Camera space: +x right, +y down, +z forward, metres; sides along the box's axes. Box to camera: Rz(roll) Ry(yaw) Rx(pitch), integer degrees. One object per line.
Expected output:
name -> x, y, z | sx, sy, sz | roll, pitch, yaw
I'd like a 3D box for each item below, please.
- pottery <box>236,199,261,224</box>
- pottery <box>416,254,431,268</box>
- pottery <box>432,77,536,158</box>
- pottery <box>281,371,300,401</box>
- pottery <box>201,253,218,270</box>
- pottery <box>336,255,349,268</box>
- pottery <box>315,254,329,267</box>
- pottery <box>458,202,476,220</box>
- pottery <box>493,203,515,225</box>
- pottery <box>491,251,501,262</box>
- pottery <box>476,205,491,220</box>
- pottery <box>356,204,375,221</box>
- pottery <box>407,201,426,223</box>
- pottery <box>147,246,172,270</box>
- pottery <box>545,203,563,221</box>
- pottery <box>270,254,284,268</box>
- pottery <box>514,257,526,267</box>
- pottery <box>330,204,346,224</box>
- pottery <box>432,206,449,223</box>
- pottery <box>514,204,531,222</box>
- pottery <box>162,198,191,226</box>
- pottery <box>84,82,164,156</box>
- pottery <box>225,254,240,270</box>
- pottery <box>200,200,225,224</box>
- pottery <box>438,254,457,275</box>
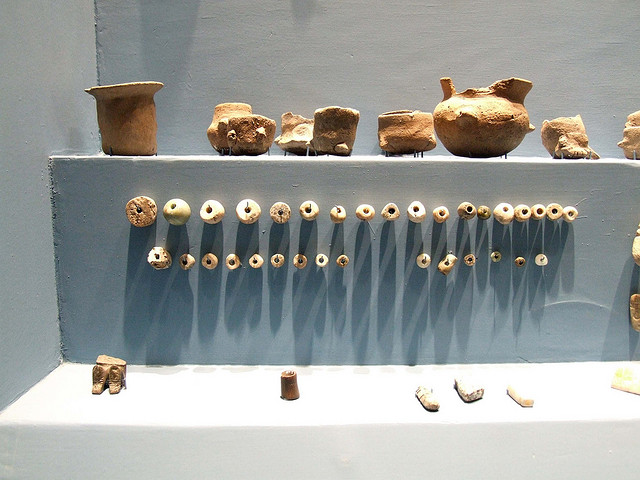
pottery -> -0.547, -0.223, 6.577 | 0.192, 0.157, 0.133 | 34, -50, -29
pottery -> 0.794, 0.158, 6.666 | 0.103, 0.070, 0.103 | 20, -45, -17
pottery -> 1.332, -0.990, 7.116 | 0.802, 0.848, 0.700 | 5, -87, -10
pottery -> -0.231, 1.078, 6.388 | 0.164, 0.163, 0.198 | -7, -78, -18
pottery -> -0.854, 0.156, 6.629 | 0.122, 0.100, 0.098 | 11, -43, -8
pottery -> 0.168, 0.160, 6.659 | 0.088, 0.079, 0.101 | -10, -44, 14
pottery -> 0.006, 0.156, 6.648 | 0.108, 0.095, 0.097 | 3, -42, 1
pottery -> 1.123, -0.233, 6.657 | 0.118, 0.110, 0.117 | -44, -83, 0
pottery -> 1.409, -0.215, 6.675 | 0.150, 0.109, 0.156 | -32, -91, -2
pottery -> 1.365, 0.126, 6.720 | 0.074, 0.060, 0.071 | -3, -43, 6
pottery -> 1.253, -0.217, 6.633 | 0.093, 0.051, 0.099 | 35, -86, -2
pottery -> 0.340, -0.212, 6.611 | 0.138, 0.110, 0.127 | 0, -43, 4
pottery -> 0.729, -0.224, 6.614 | 0.131, 0.128, 0.125 | -2, -43, 6
pottery -> -1.233, 0.142, 6.610 | 0.138, 0.142, 0.177 | -15, -46, 19
pottery -> 1.804, -0.224, 6.663 | 0.137, 0.093, 0.095 | 0, -42, 3
pottery -> -0.333, 0.158, 6.633 | 0.095, 0.088, 0.106 | -10, -44, 14
pottery -> 1.545, 0.164, 6.696 | 0.069, 0.055, 0.057 | -17, -81, 61
pottery -> 0.129, -0.200, 6.613 | 0.120, 0.115, 0.117 | 1, -42, 2
pottery -> 0.919, -0.203, 6.645 | 0.109, 0.078, 0.117 | 6, -85, -4
pottery -> 1.564, -0.205, 6.677 | 0.128, 0.112, 0.138 | -6, -43, 10
pottery -> -1.079, -0.240, 6.580 | 0.187, 0.186, 0.200 | 2, -72, 25
pottery -> -1.534, -0.953, 6.725 | 0.505, 0.490, 0.657 | 1, -83, -1
pottery -> -0.677, 0.160, 6.618 | 0.105, 0.102, 0.096 | 10, -43, -7
pottery -> -0.825, -0.221, 6.581 | 0.177, 0.154, 0.128 | 26, -47, -23
pottery -> 0.977, 0.188, 6.675 | 0.128, 0.136, 0.161 | 33, -50, -28
